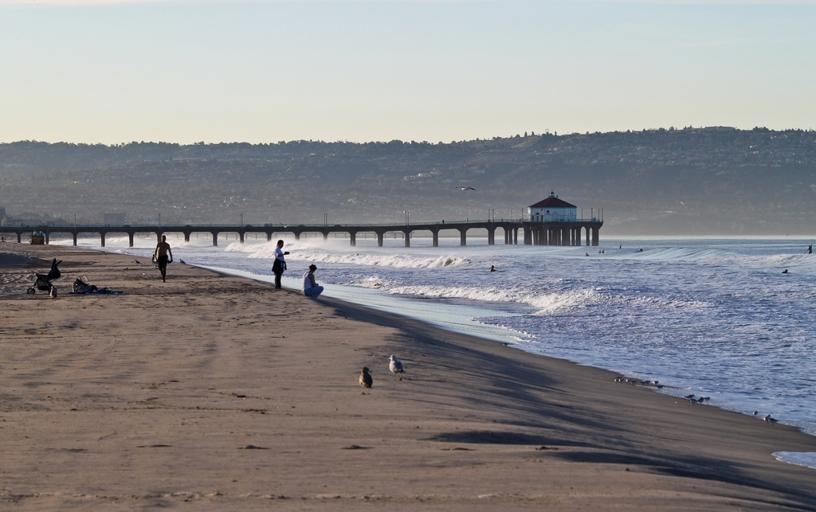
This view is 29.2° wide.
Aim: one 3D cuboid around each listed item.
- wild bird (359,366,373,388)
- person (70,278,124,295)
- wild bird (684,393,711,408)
[{"bbox_3d":[-1.070,2.930,37.868,0.319,0.305,0.554,-4,16,-6],"label":"wild bird"},{"bbox_3d":[-9.870,1.051,49.283,1.545,0.481,0.670,5,17,26],"label":"person"},{"bbox_3d":[7.399,3.682,40.169,0.237,0.226,0.757,2,-1,40],"label":"wild bird"}]
